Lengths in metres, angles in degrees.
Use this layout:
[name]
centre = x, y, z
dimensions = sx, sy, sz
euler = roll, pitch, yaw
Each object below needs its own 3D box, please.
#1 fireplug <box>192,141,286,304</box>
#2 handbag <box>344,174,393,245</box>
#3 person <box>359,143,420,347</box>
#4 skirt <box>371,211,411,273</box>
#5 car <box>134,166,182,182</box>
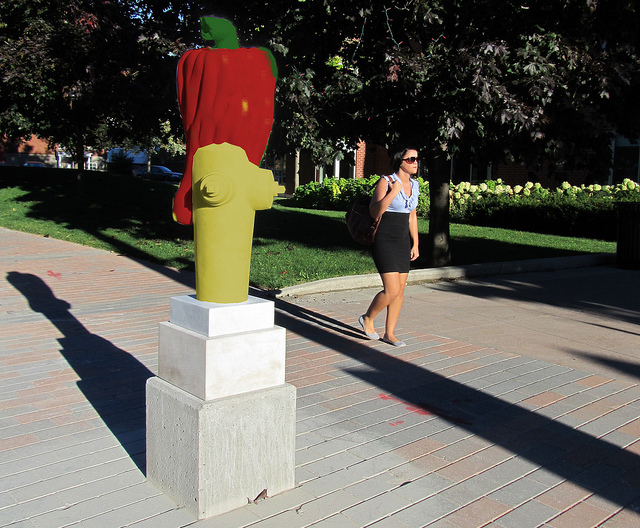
[fireplug]
centre = -0.408, -0.291, 3.700
dimensions = 0.831, 1.236, 0.802
euler = 0, 8, -4
[handbag]
centre = 0.590, -0.643, 6.196
dimensions = 0.360, 0.788, 0.597
euler = 16, 13, -15
[person]
centre = 0.750, -0.176, 6.040
dimensions = 0.569, 2.197, 0.509
euler = 3, 9, 9
[skirt]
centre = 0.790, -0.248, 6.059
dimensions = 0.438, 0.674, 0.233
euler = 1, 9, -5
[car]
centre = -16.575, -9.427, 57.069
dimensions = 3.089, 1.416, 6.044
euler = -3, 10, -27
